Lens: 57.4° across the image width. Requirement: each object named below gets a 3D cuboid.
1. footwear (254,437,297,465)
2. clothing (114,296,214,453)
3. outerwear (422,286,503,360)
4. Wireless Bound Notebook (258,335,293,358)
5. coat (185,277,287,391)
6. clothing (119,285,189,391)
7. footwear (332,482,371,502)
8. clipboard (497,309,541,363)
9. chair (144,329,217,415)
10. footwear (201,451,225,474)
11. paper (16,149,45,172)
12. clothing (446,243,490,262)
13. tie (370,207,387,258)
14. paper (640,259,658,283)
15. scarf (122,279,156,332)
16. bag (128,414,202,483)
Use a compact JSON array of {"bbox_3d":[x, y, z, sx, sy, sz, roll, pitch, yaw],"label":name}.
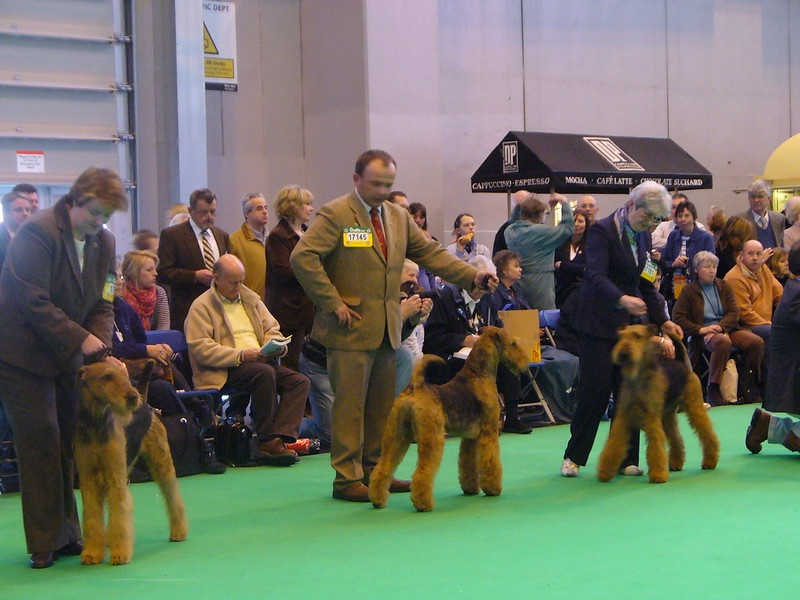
[{"bbox_3d":[-1.090,1.368,6.603,0.386,0.337,0.188,-3,-4,15],"label":"footwear"},{"bbox_3d":[-1.830,0.724,6.436,0.273,1.129,0.532,-11,9,11],"label":"clothing"},{"bbox_3d":[0.549,0.210,7.417,0.836,1.037,0.607,0,0,-38],"label":"outerwear"},{"bbox_3d":[-1.112,0.413,6.366,0.177,0.082,0.215,-23,-12,-41],"label":"Wireless Bound Notebook"},{"bbox_3d":[-1.513,0.311,6.784,0.902,0.993,0.682,-7,4,-42],"label":"coat"},{"bbox_3d":[-2.187,0.326,6.399,0.572,1.132,0.468,8,2,14],"label":"clothing"},{"bbox_3d":[-0.335,1.367,5.224,0.267,0.136,0.117,-6,-5,26],"label":"footwear"},{"bbox_3d":[1.337,0.383,7.435,0.273,0.514,0.316,-1,4,-3],"label":"clipboard"},{"bbox_3d":[-2.213,0.587,7.054,0.413,0.573,0.379,-7,7,-19],"label":"chair"},{"bbox_3d":[-1.569,1.409,6.253,0.285,0.147,0.100,-3,-3,42],"label":"footwear"},{"bbox_3d":[-4.897,-1.818,9.663,0.269,0.266,0.042,-1,-5,-33],"label":"paper"},{"bbox_3d":[0.811,-0.543,8.659,0.484,0.208,0.151,8,-18,-33],"label":"clothing"},{"bbox_3d":[-0.153,-0.510,5.219,0.070,0.483,0.051,2,-33,-19],"label":"tie"},{"bbox_3d":[1.945,-0.203,5.711,0.157,0.167,0.040,22,-19,-14],"label":"paper"},{"bbox_3d":[-2.566,0.052,7.213,0.321,0.515,0.185,5,5,3],"label":"scarf"},{"bbox_3d":[-1.985,1.289,6.356,0.407,0.602,0.579,-1,-12,-10],"label":"bag"}]
